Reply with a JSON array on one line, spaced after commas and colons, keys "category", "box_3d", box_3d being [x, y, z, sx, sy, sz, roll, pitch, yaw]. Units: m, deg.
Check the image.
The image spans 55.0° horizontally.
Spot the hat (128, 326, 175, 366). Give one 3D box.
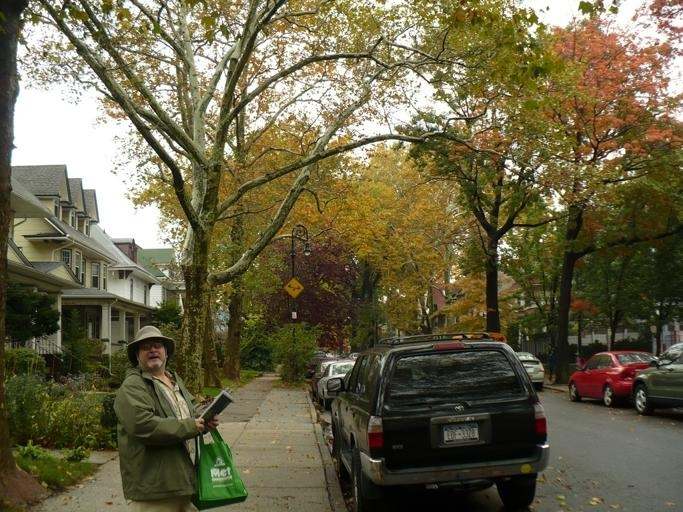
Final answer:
[{"category": "hat", "box_3d": [-2.041, 0.865, 6.771, 0.387, 0.168, 0.500, -3, -50, -16]}]
